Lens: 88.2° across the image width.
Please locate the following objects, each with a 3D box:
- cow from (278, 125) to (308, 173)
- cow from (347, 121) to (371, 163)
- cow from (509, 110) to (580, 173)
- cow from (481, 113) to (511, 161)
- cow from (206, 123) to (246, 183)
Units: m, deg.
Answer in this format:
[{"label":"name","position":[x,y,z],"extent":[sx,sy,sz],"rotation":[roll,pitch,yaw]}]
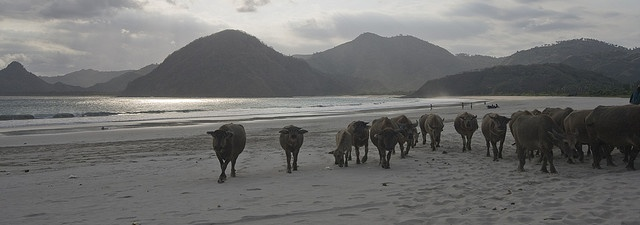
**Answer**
[{"label":"cow","position":[-3.438,4.905,44.698],"extent":[5.190,4.544,9.917],"rotation":[1,-11,-4]},{"label":"cow","position":[7.154,3.807,43.622],"extent":[3.389,5.150,7.660],"rotation":[2,1,10]},{"label":"cow","position":[27.089,3.749,40.383],"extent":[6.168,6.994,2.458],"rotation":[5,20,24]},{"label":"cow","position":[25.435,3.153,43.475],"extent":[4.376,5.683,6.482],"rotation":[3,2,13]},{"label":"cow","position":[-11.393,4.909,40.831],"extent":[2.507,6.437,4.271],"rotation":[4,18,21]}]
